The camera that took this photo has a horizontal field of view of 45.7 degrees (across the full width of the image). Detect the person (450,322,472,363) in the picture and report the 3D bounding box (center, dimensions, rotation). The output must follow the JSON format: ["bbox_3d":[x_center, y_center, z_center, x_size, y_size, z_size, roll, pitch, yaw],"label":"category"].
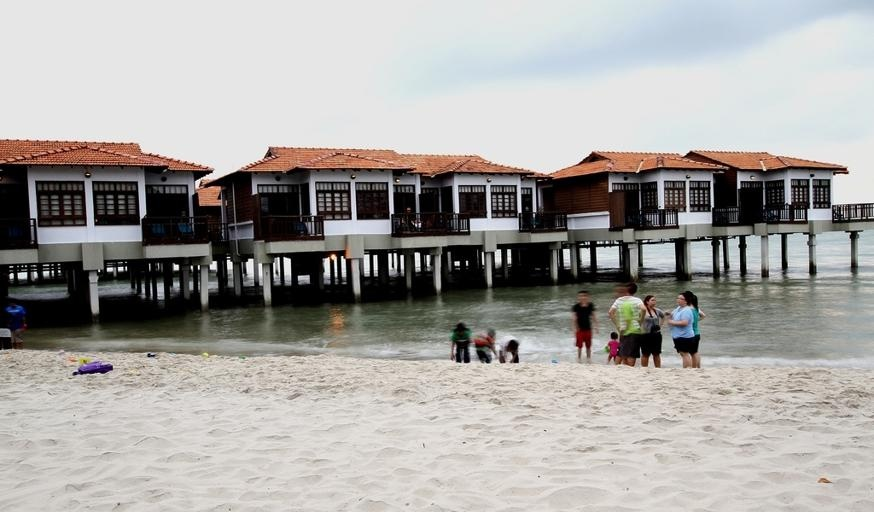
[{"bbox_3d":[0.782,3.002,35.550,0.598,1.287,0.727,-4,-3,0],"label":"person"}]

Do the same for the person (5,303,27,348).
[{"bbox_3d":[-15.608,2.574,38.334,0.629,1.658,1.056,-3,-3,-22],"label":"person"}]

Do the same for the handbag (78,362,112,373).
[{"bbox_3d":[-11.316,3.677,34.079,1.185,0.347,0.765,-2,-3,-16],"label":"handbag"}]

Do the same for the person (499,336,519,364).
[{"bbox_3d":[2.449,3.266,35.674,0.438,0.844,0.921,-4,-30,-2],"label":"person"}]
